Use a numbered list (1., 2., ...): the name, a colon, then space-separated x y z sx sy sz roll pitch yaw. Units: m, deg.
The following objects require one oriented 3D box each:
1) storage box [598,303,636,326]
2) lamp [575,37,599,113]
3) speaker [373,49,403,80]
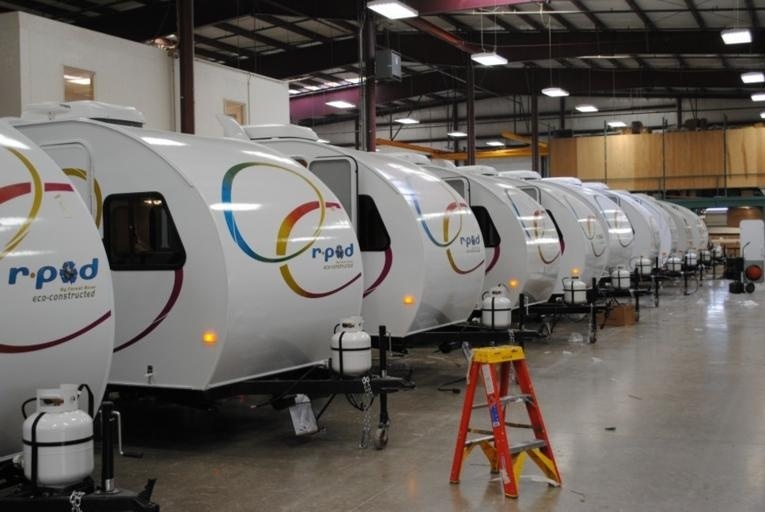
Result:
1. storage box: 4.601 1.152 14.816 0.540 0.372 0.563 -3 -1 37
2. lamp: 7.072 -6.323 25.941 0.667 2.268 1.515 -2 6 -9
3. speaker: 0.129 -4.493 17.499 0.582 0.808 0.960 -1 2 19
